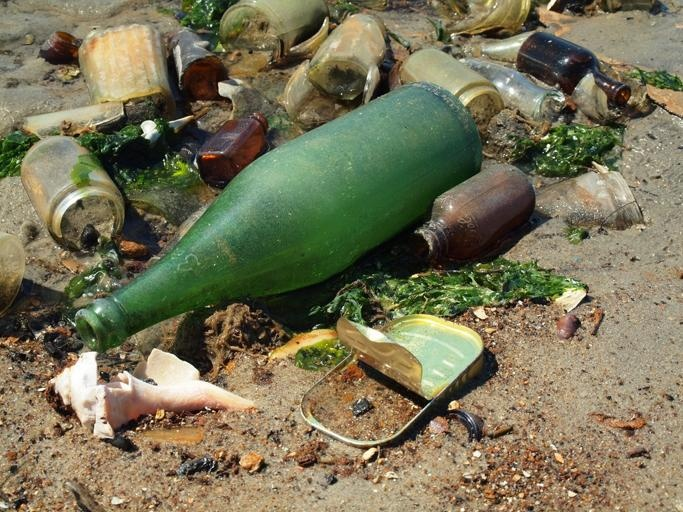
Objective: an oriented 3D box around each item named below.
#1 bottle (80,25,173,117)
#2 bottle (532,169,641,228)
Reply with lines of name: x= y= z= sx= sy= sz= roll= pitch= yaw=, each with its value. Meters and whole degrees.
bottle: x=-1.377 y=-1.226 z=4.747 sx=0.350 sy=0.541 sz=0.387 roll=-27 pitch=46 yaw=-29
bottle: x=1.371 y=-0.324 z=4.278 sx=0.571 sy=0.167 sz=0.383 roll=8 pitch=43 yaw=6
